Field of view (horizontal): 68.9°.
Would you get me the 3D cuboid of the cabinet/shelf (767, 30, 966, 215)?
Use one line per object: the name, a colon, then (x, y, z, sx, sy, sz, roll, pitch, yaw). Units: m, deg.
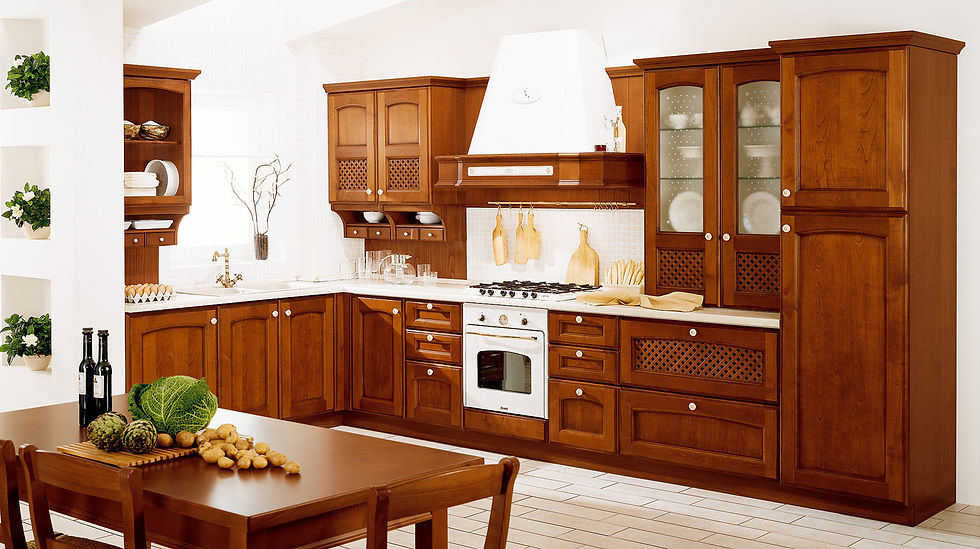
cabinet/shelf: (2.762, -1.091, 5.103, 1.324, 1.258, 0.478, -3, 6, -1)

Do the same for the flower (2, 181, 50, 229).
flower: (-3.942, -0.570, 6.096, 0.439, 0.386, 0.180, -1, 6, 20)

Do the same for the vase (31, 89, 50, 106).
vase: (-3.752, -1.479, 5.999, 0.158, 0.098, 0.149, -4, 7, -29)

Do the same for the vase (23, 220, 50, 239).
vase: (-3.845, -0.383, 6.056, 0.177, 0.099, 0.162, -1, 2, -3)

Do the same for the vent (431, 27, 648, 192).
vent: (0.537, -1.466, 6.785, 1.986, 1.276, 1.080, 9, 10, 43)

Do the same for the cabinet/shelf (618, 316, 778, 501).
cabinet/shelf: (1.681, 1.037, 5.597, 1.614, 1.263, 0.754, 0, -3, 35)

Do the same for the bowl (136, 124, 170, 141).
bowl: (-3.071, -1.296, 6.524, 0.223, 0.090, 0.204, 0, 1, 0)

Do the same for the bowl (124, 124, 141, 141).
bowl: (-3.223, -1.274, 6.393, 0.146, 0.091, 0.126, 3, 5, 30)

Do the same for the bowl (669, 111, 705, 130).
bowl: (1.594, -1.256, 5.856, 0.202, 0.073, 0.134, -3, -1, 36)

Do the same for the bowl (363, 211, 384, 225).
bowl: (-1.221, -0.589, 7.501, 0.161, 0.083, 0.149, -1, 3, 0)

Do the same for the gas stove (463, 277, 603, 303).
gas stove: (0.397, 0.140, 6.459, 1.156, 0.119, 0.569, -2, 5, 7)

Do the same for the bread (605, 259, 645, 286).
bread: (1.246, -0.012, 6.504, 0.256, 0.246, 0.098, 1, -12, 32)

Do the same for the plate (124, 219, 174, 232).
plate: (-3.101, -0.450, 6.522, 0.394, 0.097, 0.085, -8, 7, -44)

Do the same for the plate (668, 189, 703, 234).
plate: (1.625, -0.512, 5.899, 0.342, 0.294, 0.056, 5, 6, 33)

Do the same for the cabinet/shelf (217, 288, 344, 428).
cabinet/shelf: (-1.965, 0.740, 6.561, 1.558, 1.260, 0.654, 1, -3, -42)

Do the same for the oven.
oven: (0.342, 0.772, 6.534, 0.972, 0.945, 0.773, -1, -3, 44)

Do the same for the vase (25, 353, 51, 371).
vase: (-3.833, 0.749, 6.061, 0.180, 0.076, 0.164, -1, 0, -5)
